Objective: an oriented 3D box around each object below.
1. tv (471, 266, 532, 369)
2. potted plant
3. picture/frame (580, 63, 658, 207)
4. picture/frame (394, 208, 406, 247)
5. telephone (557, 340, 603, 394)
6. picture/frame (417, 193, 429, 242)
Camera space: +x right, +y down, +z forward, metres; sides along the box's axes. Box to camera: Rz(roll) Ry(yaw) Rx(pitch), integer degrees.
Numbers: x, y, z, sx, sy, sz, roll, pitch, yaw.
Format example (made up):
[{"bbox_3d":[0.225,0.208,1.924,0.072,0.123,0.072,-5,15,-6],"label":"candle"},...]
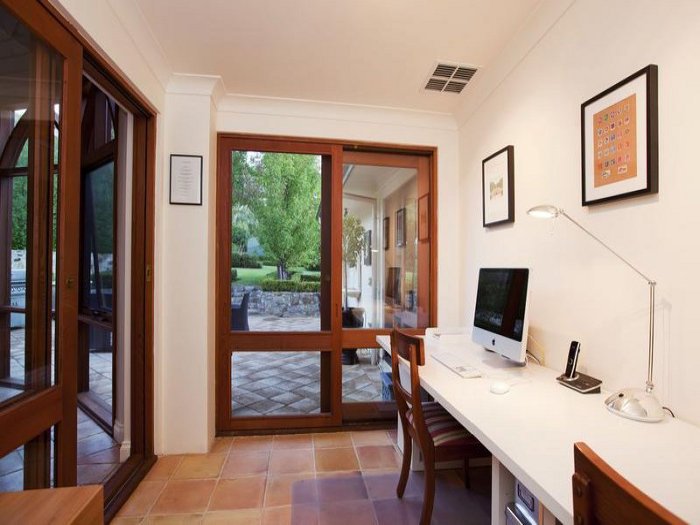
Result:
[{"bbox_3d":[0.944,0.352,3.098,0.161,0.525,0.483,6,-10,-11],"label":"tv"},{"bbox_3d":[0.030,0.204,4.180,0.183,1.239,0.295,1,11,1],"label":"potted plant"},{"bbox_3d":[1.430,-0.661,2.668,0.131,0.713,0.480,-5,13,-26],"label":"picture/frame"},{"bbox_3d":[0.428,-0.299,4.297,0.098,0.315,0.065,1,11,4],"label":"picture/frame"},{"bbox_3d":[1.236,0.579,2.747,0.176,0.247,0.236,-7,4,-5],"label":"telephone"},{"bbox_3d":[0.620,-0.382,4.307,0.150,0.410,0.046,-17,23,-34],"label":"picture/frame"}]
